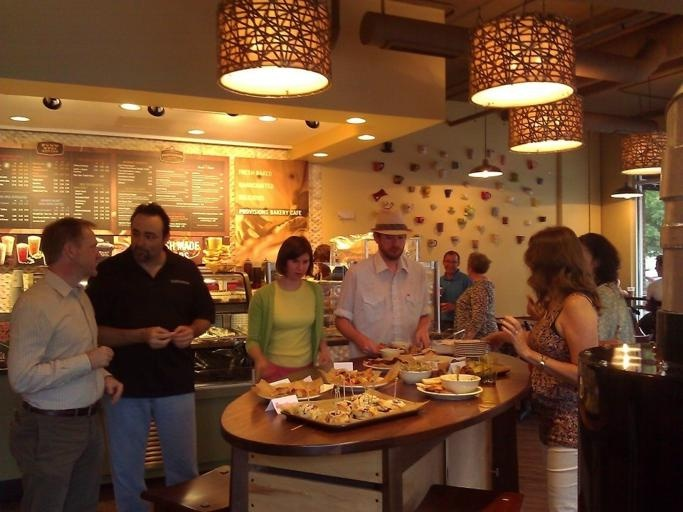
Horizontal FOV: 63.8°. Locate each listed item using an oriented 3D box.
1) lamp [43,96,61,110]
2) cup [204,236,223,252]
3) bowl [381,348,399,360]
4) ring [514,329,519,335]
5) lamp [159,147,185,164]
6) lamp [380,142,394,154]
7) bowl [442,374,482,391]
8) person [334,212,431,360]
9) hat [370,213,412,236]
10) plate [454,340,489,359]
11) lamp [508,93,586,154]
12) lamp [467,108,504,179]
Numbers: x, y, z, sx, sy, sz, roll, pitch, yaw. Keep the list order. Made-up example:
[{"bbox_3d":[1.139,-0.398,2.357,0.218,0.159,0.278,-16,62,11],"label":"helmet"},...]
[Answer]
[{"bbox_3d":[-2.813,-1.479,5.311,0.167,0.080,0.179,-1,9,-28],"label":"lamp"},{"bbox_3d":[-1.631,-0.161,6.983,0.214,0.172,0.197,0,-1,0],"label":"cup"},{"bbox_3d":[0.276,0.568,3.168,0.068,0.033,0.064,1,-5,0],"label":"bowl"},{"bbox_3d":[0.845,0.365,2.648,0.026,0.022,0.026,1,0,0],"label":"ring"},{"bbox_3d":[-2.069,-1.226,6.661,0.215,0.114,0.196,1,2,-8],"label":"lamp"},{"bbox_3d":[0.685,-1.637,8.236,0.177,0.178,0.234,5,8,8],"label":"lamp"},{"bbox_3d":[0.518,0.570,2.472,0.104,0.032,0.100,1,-2,0],"label":"bowl"},{"bbox_3d":[0.365,0.175,3.770,0.751,0.956,0.679,2,9,-14],"label":"person"},{"bbox_3d":[0.352,-0.236,3.920,0.224,0.168,0.215,3,8,0],"label":"hat"},{"bbox_3d":[0.735,0.528,3.128,0.131,0.046,0.124,0,0,20],"label":"plate"},{"bbox_3d":[1.420,-0.888,3.941,0.501,0.273,0.477,3,-5,-37],"label":"lamp"},{"bbox_3d":[2.170,-1.696,8.151,0.538,1.048,2.441,6,8,15],"label":"lamp"}]
